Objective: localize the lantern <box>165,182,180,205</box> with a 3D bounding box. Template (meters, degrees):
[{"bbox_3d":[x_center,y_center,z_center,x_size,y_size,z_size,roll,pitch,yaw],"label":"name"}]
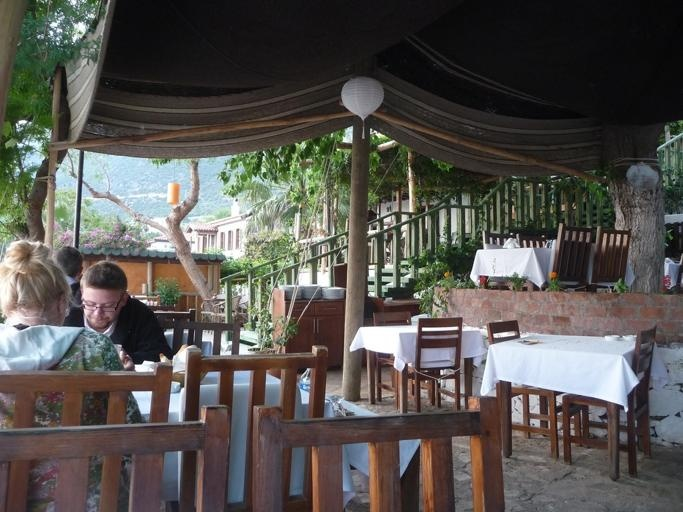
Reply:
[{"bbox_3d":[-3.756,-1.389,14.725,0.222,0.536,1.012,-2,9,-12],"label":"lantern"}]

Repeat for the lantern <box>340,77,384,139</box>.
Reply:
[{"bbox_3d":[0.202,-1.474,6.238,0.358,0.558,0.387,-1,8,1],"label":"lantern"}]

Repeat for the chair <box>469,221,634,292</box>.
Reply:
[{"bbox_3d":[2.671,-0.002,8.191,1.824,0.872,0.960,4,10,25],"label":"chair"}]

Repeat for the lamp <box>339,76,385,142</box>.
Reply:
[{"bbox_3d":[0.237,-1.475,6.239,0.369,0.575,0.399,-1,9,1],"label":"lamp"}]

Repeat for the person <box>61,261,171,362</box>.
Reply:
[{"bbox_3d":[-1.534,0.333,4.524,0.558,0.657,0.741,-9,10,-18],"label":"person"}]
